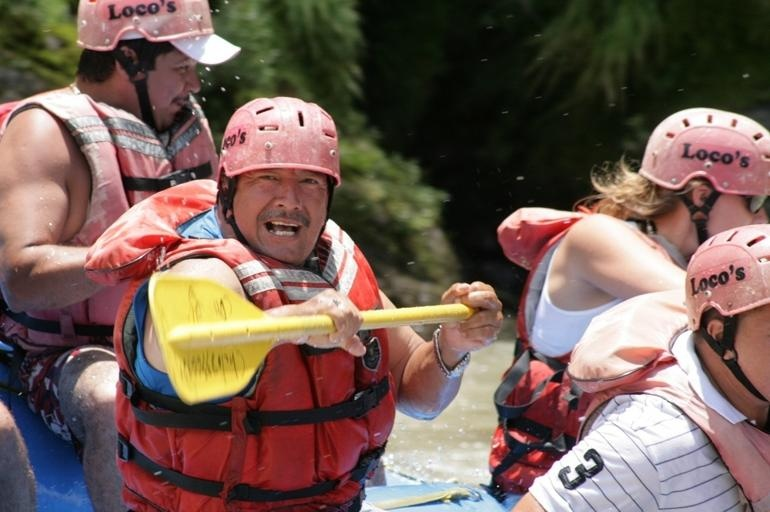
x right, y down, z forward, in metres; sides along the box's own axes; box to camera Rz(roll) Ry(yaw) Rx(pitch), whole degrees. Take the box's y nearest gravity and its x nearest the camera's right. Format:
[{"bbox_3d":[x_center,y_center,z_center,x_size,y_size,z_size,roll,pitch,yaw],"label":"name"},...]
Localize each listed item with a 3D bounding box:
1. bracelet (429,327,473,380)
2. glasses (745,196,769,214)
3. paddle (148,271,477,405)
[{"bbox_3d":[0.387,0.587,7.378,0.179,0.326,0.204,-3,-7,14],"label":"bracelet"},{"bbox_3d":[2.287,-0.322,7.695,0.063,0.112,0.157,26,25,37],"label":"glasses"},{"bbox_3d":[-0.351,0.359,6.472,1.652,0.563,0.136,-4,-5,-29],"label":"paddle"}]
